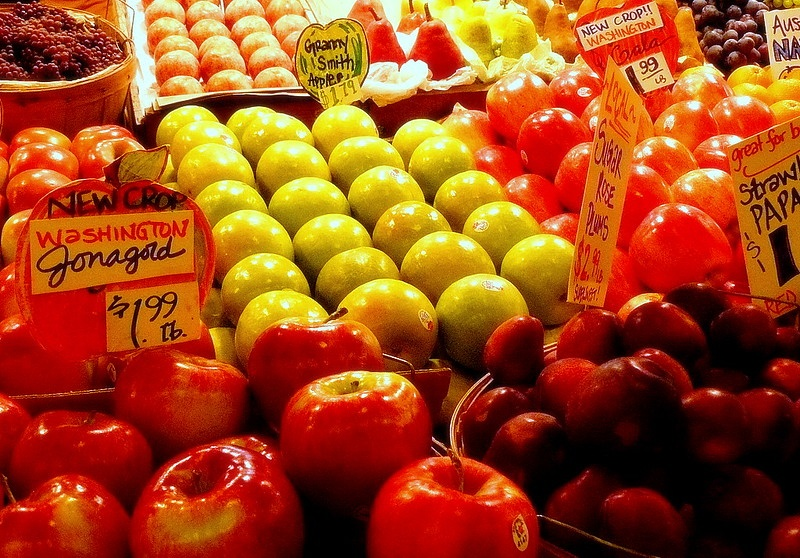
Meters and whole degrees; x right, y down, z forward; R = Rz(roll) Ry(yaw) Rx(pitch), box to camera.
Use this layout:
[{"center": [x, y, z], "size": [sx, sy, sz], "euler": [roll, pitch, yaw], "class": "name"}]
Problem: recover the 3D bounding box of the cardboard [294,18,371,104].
[{"center": [-0.239, -0.771, 2.447], "size": [0.278, 0.352, 0.029], "euler": [-11, -14, 3], "class": "cardboard"}]
